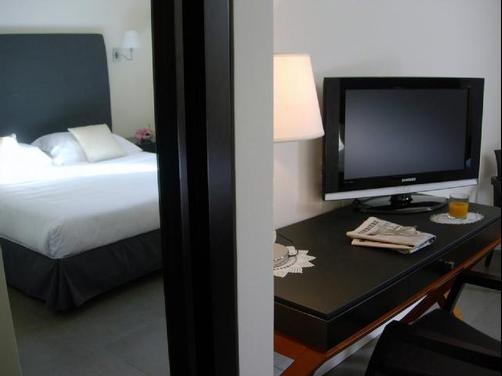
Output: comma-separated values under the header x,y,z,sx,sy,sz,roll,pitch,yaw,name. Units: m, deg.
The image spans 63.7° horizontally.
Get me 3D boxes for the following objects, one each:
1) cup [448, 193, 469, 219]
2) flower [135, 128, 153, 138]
x,y,z,sx,sy,sz,roll,pitch,yaw,name
1.026,0.082,2.044,0.109,0.146,0.124,3,9,35,cup
-0.227,-0.115,0.859,0.023,0.016,0.025,5,21,19,flower
